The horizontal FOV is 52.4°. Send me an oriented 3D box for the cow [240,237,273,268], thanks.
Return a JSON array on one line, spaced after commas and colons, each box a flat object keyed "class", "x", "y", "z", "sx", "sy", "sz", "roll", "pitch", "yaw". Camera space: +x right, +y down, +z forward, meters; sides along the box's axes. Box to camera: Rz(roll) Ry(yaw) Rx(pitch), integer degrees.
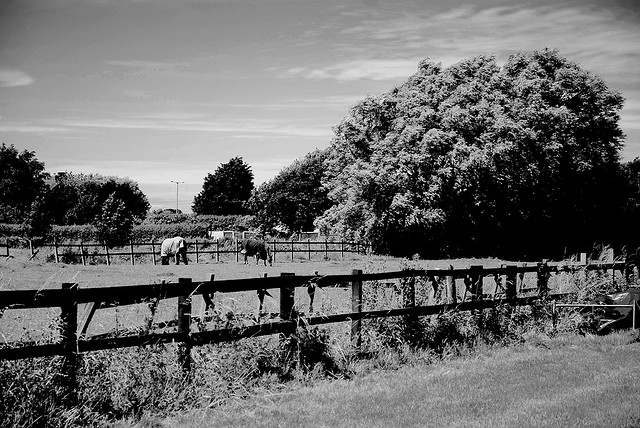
[{"class": "cow", "x": -3.691, "y": 2.229, "z": 38.069, "sx": 2.424, "sy": 1.502, "sz": 0.748, "roll": 12, "pitch": 9, "yaw": 32}]
